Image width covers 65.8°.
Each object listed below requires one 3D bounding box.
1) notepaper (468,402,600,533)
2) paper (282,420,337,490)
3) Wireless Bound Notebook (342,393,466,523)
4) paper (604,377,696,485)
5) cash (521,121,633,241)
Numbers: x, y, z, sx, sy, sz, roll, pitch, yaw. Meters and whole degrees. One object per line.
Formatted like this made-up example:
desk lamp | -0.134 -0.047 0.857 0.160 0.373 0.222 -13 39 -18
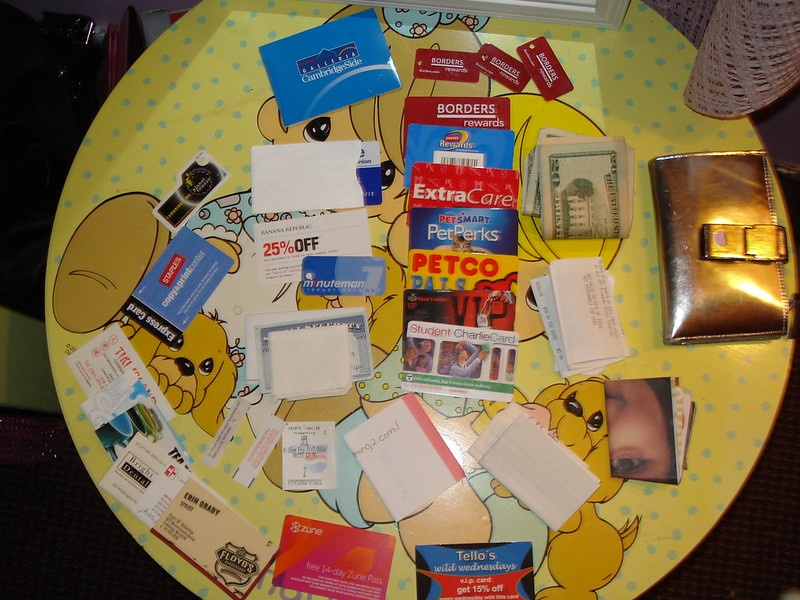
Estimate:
notepaper | 0.356 0.441 1.640 0.323 0.025 0.191 42 83 8
paper | -0.241 0.422 1.652 0.159 0.010 0.198 -1 85 3
Wireless Bound Notebook | 0.013 0.418 1.650 0.224 0.024 0.273 -32 80 -5
paper | 0.642 0.348 1.641 0.182 0.036 0.269 -3 79 1
cash | 0.504 -0.307 1.692 0.261 0.065 0.279 3 79 2
